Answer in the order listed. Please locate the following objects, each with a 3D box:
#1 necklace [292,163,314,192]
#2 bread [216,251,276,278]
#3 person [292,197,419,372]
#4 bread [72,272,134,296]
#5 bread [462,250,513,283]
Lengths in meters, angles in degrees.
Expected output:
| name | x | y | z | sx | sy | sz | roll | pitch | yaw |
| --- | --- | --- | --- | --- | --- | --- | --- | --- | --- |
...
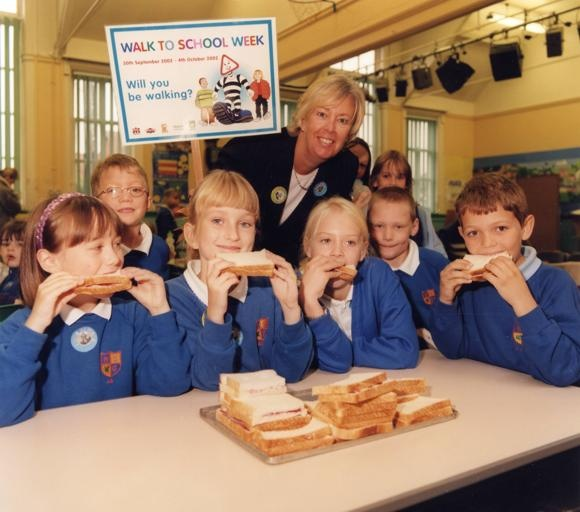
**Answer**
| name | x | y | z | sx | sy | sz | roll | pitch | yaw |
| --- | --- | --- | --- | --- | --- | --- | --- | --- | --- |
| necklace | 0.073 | -0.470 | 3.060 | 0.097 | 0.144 | 0.032 | 8 | 10 | -2 |
| bread | -0.181 | 0.042 | 2.080 | 0.236 | 0.111 | 0.179 | -4 | 8 | -29 |
| person | 0.287 | 0.164 | 2.334 | 0.456 | 0.292 | 0.810 | -3 | 47 | -1 |
| bread | -0.668 | 0.094 | 1.876 | 0.178 | 0.075 | 0.047 | 1 | 3 | -24 |
| bread | 0.773 | 0.030 | 2.121 | 0.129 | 0.050 | 0.134 | -11 | 23 | 26 |
